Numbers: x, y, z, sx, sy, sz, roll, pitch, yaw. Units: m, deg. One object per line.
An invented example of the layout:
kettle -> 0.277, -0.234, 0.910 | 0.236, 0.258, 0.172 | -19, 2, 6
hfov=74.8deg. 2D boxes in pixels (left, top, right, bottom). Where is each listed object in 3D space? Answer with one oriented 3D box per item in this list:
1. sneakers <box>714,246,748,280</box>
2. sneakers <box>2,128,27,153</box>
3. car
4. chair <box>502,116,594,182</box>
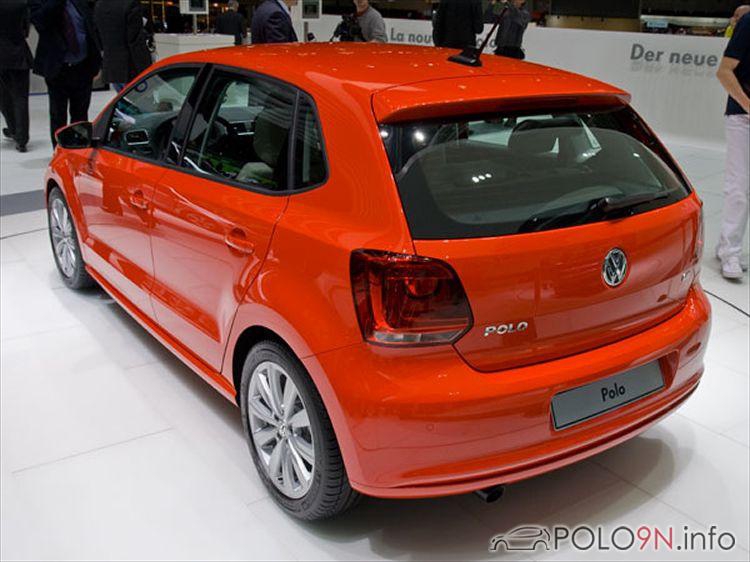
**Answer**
sneakers -> 2.903, -0.145, 4.109 | 0.161, 0.143, 0.431 | -5, 15, 0
sneakers -> -5.729, -2.224, 7.804 | 0.205, 0.260, 0.626 | -22, 45, -35
car -> -0.417, -0.480, 2.988 | 1.984, 1.545, 3.814 | -17, 29, -39
chair -> 0.614, -0.454, 1.689 | 0.195, 0.123, 0.330 | 14, 20, 39
